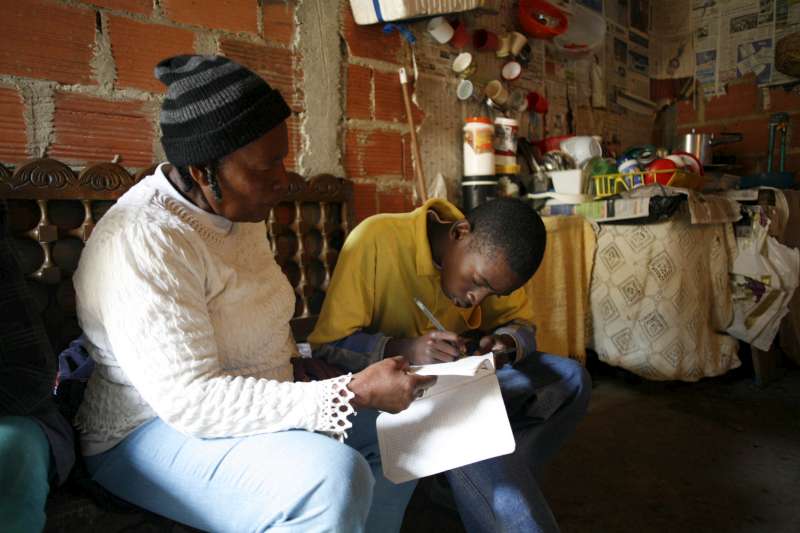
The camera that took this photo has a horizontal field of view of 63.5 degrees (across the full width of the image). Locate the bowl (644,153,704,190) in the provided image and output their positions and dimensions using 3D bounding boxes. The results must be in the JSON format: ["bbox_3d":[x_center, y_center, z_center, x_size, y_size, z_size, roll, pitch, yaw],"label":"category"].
[{"bbox_3d":[1.568,-0.551,3.734,0.323,0.115,0.265,8,13,41],"label":"bowl"}]

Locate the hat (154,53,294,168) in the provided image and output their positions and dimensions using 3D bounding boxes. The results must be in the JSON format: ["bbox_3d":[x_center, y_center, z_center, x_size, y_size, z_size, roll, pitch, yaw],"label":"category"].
[{"bbox_3d":[-0.552,-0.505,2.147,0.380,0.287,0.340,-13,28,5],"label":"hat"}]

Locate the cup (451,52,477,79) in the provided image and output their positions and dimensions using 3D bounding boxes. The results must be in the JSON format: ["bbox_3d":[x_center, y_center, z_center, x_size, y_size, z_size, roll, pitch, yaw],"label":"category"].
[{"bbox_3d":[0.351,-1.144,3.649,0.114,0.143,0.098,4,11,37],"label":"cup"}]

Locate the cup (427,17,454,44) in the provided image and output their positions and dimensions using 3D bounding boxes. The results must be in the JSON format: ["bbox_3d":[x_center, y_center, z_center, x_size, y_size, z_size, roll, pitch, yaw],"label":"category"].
[{"bbox_3d":[0.221,-1.290,3.533,0.132,0.123,0.221,2,10,25],"label":"cup"}]

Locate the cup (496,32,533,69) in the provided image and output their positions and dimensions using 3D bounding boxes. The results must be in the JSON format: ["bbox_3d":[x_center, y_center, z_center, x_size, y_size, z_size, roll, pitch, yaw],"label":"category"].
[{"bbox_3d":[0.703,-1.326,3.943,0.214,0.159,0.188,12,-7,-35],"label":"cup"}]

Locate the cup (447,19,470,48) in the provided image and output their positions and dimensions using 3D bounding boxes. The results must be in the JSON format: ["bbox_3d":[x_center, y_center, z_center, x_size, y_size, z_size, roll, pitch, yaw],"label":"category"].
[{"bbox_3d":[0.332,-1.306,3.630,0.120,0.105,0.134,-5,10,-1],"label":"cup"}]

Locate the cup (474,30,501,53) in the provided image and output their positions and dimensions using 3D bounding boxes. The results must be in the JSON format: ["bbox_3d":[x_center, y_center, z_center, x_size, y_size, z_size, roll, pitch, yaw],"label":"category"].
[{"bbox_3d":[0.500,-1.308,3.751,0.128,0.123,0.193,26,23,34],"label":"cup"}]

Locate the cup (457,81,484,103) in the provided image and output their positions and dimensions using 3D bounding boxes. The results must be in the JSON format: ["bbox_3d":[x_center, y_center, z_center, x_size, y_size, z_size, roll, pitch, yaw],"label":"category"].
[{"bbox_3d":[0.402,-1.015,3.735,0.128,0.116,0.207,1,9,19],"label":"cup"}]

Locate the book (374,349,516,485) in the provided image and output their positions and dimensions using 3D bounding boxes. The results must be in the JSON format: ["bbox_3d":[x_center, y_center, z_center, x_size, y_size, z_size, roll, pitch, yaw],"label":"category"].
[{"bbox_3d":[0.184,0.569,2.231,0.496,0.101,0.497,-33,30,-11],"label":"book"}]

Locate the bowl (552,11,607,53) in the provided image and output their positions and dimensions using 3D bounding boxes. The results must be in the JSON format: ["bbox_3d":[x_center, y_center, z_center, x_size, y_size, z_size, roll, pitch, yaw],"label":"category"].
[{"bbox_3d":[1.203,-1.549,4.290,0.348,0.227,0.172,-6,15,5],"label":"bowl"}]

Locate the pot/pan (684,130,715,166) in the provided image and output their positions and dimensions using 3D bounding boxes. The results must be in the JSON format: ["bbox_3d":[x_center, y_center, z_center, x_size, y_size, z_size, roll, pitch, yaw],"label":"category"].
[{"bbox_3d":[2.075,-0.866,4.540,0.168,0.246,0.160,26,15,8],"label":"pot/pan"}]

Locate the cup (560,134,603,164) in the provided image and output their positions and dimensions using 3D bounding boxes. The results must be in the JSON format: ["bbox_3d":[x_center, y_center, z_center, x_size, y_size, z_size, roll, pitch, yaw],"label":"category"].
[{"bbox_3d":[1.095,-0.696,3.911,0.180,0.194,0.199,-4,-37,26],"label":"cup"}]

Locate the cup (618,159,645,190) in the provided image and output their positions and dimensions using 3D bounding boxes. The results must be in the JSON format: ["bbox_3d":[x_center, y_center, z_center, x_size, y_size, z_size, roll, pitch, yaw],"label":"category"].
[{"bbox_3d":[1.328,-0.530,3.716,0.147,0.166,0.297,0,9,19],"label":"cup"}]
